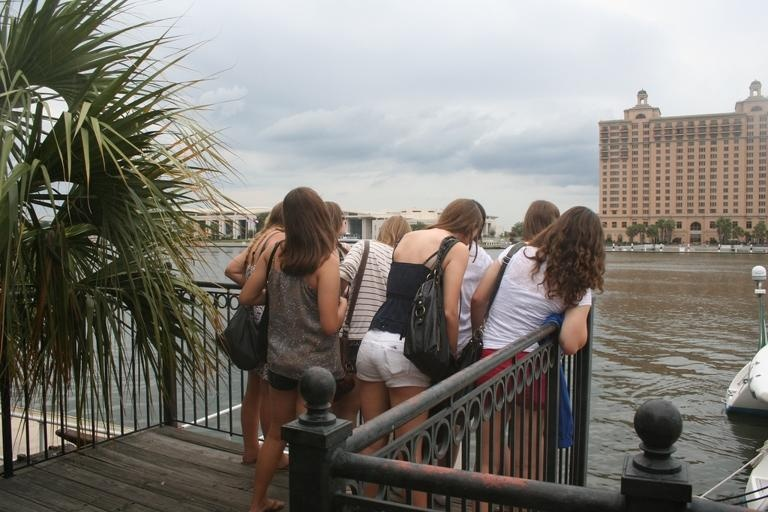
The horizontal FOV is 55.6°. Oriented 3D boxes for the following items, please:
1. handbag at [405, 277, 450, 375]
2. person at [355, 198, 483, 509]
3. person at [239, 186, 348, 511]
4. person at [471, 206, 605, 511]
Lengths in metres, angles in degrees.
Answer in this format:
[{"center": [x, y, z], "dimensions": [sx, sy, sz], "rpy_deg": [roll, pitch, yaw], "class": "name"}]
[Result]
[{"center": [0.341, 0.576, 5.627], "dimensions": [0.262, 0.697, 0.611], "rpy_deg": [2, -11, 10], "class": "handbag"}, {"center": [0.273, 0.448, 5.871], "dimensions": [0.963, 1.769, 0.575], "rpy_deg": [2, 1, -3], "class": "person"}, {"center": [-0.724, 0.752, 5.701], "dimensions": [0.758, 1.801, 0.378], "rpy_deg": [2, 1, 1], "class": "person"}, {"center": [1.184, 0.790, 5.792], "dimensions": [1.030, 2.174, 1.383], "rpy_deg": [2, 1, 16], "class": "person"}]
